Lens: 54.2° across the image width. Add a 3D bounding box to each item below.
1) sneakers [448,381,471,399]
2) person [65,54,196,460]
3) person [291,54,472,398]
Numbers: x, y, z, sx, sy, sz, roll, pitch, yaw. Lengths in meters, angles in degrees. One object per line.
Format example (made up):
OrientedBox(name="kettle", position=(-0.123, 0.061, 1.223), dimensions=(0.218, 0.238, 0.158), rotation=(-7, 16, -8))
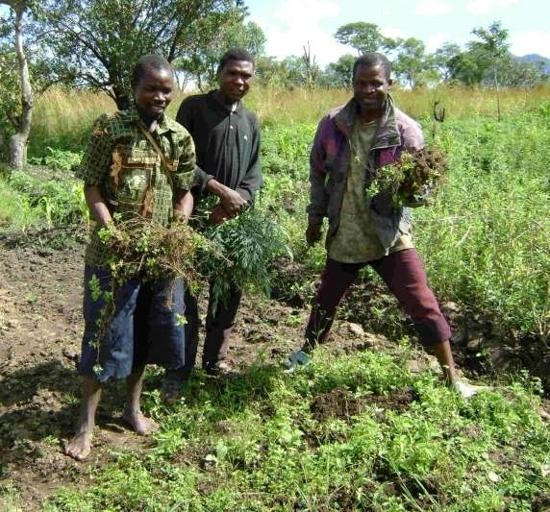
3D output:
OrientedBox(name="sneakers", position=(1.307, 0.946, 3.774), dimensions=(0.177, 0.069, 0.181), rotation=(10, 10, 18))
OrientedBox(name="person", position=(-0.847, 0.017, 3.398), dimensions=(0.729, 2.513, 0.420), rotation=(2, 13, -31))
OrientedBox(name="person", position=(0.777, -0.243, 4.007), dimensions=(1.309, 2.455, 0.450), rotation=(12, 11, 16))
